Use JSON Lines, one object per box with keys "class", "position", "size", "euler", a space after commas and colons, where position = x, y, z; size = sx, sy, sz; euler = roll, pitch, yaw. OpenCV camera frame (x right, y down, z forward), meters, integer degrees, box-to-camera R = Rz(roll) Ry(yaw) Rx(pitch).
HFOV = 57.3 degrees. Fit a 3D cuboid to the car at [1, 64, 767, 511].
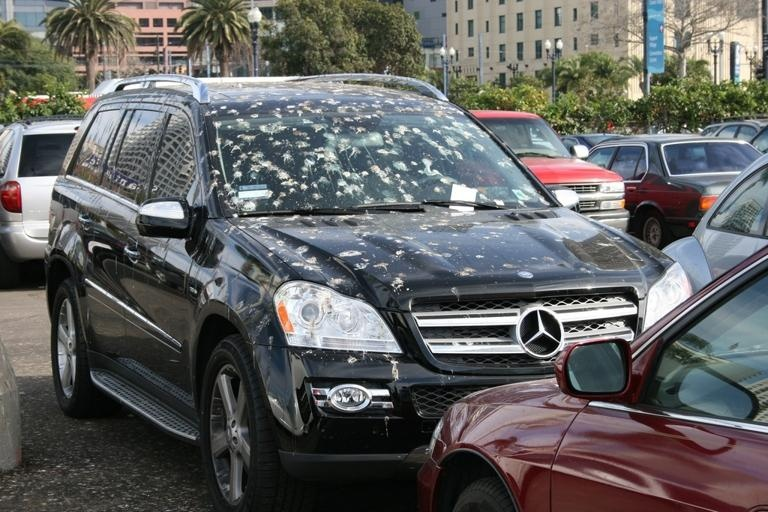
{"class": "car", "position": [-0.728, 0.025, 5.160], "size": [2.558, 1.948, 4.518], "euler": [-2, 4, -34]}
